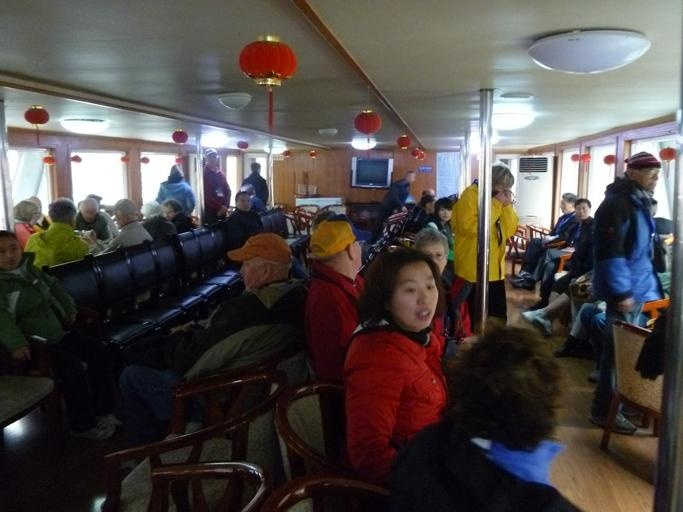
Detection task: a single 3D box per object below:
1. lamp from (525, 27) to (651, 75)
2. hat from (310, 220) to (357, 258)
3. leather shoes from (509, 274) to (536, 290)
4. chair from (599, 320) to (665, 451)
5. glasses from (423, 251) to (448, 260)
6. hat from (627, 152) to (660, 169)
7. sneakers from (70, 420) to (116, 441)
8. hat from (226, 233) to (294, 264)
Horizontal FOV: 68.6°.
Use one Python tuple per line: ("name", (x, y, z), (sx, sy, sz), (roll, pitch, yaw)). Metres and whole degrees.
("lamp", (1.446, -1.211, 2.949), (0.629, 0.140, 0.366), (5, 7, 25))
("hat", (-0.024, -0.087, 2.438), (0.144, 0.109, 0.217), (9, 30, 39))
("leather shoes", (2.624, 0.378, 7.197), (0.346, 0.238, 0.144), (14, 2, 28))
("chair", (1.735, 0.799, 2.977), (0.283, 0.852, 0.531), (6, 8, 31))
("glasses", (0.550, -0.006, 2.920), (0.064, 0.052, 0.063), (1, -6, 41))
("hat", (1.935, -0.603, 3.215), (0.147, 0.079, 0.147), (0, 5, -1))
("sneakers", (-1.620, 1.153, 3.304), (0.277, 0.107, 0.107), (-6, 27, -19))
("hat", (-0.402, -0.040, 2.542), (0.252, 0.098, 0.159), (2, 5, -2))
